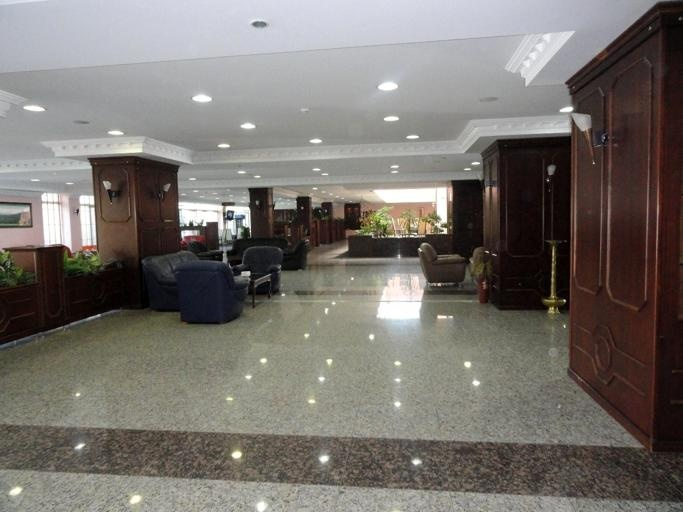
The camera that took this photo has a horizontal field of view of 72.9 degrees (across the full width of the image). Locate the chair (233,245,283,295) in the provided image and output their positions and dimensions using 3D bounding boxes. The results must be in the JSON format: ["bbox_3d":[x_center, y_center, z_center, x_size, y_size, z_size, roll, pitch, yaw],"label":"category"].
[{"bbox_3d":[-1.710,0.303,9.637,0.969,0.990,0.874,-1,2,19],"label":"chair"}]

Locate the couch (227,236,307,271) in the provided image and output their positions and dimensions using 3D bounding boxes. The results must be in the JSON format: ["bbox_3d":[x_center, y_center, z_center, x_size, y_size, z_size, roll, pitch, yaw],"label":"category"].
[{"bbox_3d":[-2.142,-0.029,13.429,2.078,1.069,1.004,-3,-1,-10],"label":"couch"}]

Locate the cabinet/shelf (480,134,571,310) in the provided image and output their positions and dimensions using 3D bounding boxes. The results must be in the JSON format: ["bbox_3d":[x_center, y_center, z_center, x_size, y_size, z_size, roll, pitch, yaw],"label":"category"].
[{"bbox_3d":[3.035,-0.495,7.301,1.153,2.672,0.331,-1,10,-4],"label":"cabinet/shelf"}]

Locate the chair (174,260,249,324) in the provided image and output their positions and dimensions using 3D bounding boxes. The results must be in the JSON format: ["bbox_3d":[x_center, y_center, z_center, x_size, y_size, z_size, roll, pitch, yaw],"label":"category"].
[{"bbox_3d":[-1.938,0.519,7.077,0.783,0.884,0.961,1,4,9],"label":"chair"}]

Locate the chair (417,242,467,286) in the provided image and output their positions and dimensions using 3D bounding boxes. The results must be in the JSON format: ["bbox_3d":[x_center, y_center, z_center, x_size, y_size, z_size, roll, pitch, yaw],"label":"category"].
[{"bbox_3d":[2.215,0.164,10.118,0.989,0.890,1.017,-2,3,13],"label":"chair"}]

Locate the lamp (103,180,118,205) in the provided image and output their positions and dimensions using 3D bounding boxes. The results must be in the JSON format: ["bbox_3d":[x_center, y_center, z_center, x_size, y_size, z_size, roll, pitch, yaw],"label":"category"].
[{"bbox_3d":[-3.928,-1.084,7.882,0.225,0.376,0.159,-2,10,-7],"label":"lamp"}]

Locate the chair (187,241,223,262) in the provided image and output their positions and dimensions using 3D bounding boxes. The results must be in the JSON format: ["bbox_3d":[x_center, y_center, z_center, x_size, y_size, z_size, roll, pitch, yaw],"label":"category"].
[{"bbox_3d":[-3.889,-0.096,13.270,0.755,0.897,0.787,1,8,2],"label":"chair"}]
